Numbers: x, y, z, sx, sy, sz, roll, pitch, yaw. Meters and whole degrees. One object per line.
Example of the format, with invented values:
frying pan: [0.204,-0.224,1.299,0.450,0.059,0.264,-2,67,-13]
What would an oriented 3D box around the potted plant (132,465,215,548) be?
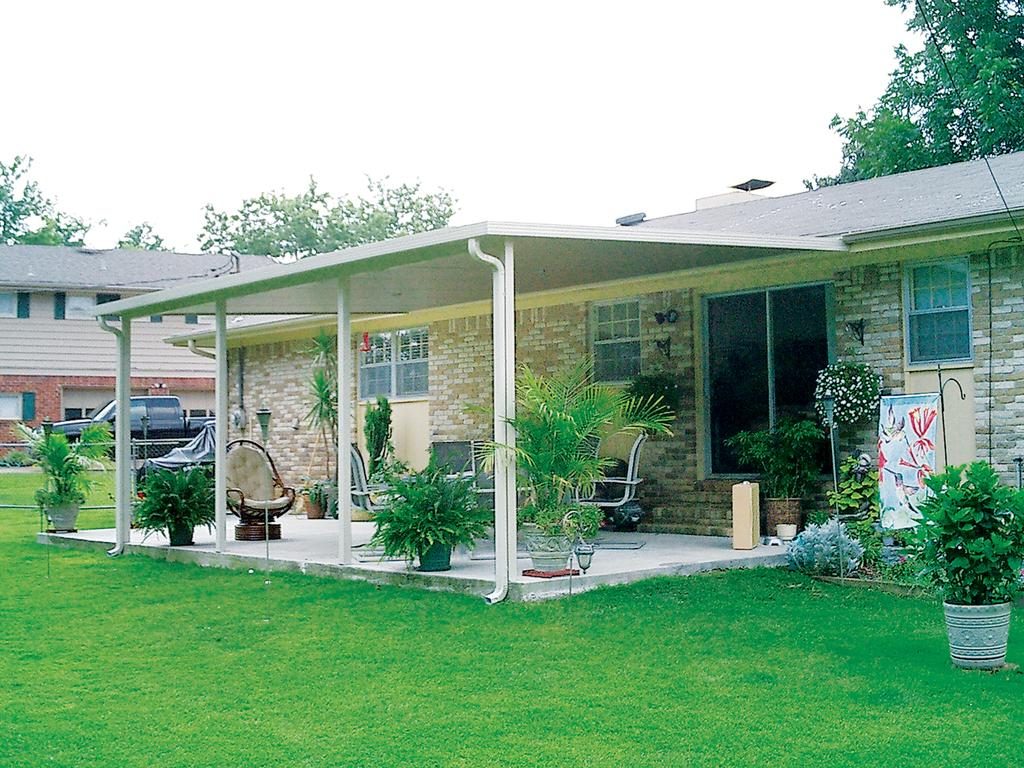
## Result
potted plant: [-4.548,1.718,13.129,1.080,1.024,1.112,-3,-14,15]

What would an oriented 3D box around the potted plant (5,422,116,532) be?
potted plant: [-7.323,1.595,15.745,1.229,1.879,3.316,-3,4,-27]

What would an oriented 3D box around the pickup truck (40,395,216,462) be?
pickup truck: [-8.740,1.009,21.581,3.778,1.590,1.692,2,-2,-33]

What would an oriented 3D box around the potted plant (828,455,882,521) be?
potted plant: [4.240,1.270,11.787,0.449,0.773,0.685,0,4,15]

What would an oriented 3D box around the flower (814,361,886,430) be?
flower: [4.182,0.149,12.001,0.815,0.867,0.522,1,5,31]

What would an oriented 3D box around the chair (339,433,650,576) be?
chair: [0.303,1.650,13.423,3.193,1.279,1.894,-2,-4,21]

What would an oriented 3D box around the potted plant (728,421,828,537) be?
potted plant: [3.643,1.172,12.795,1.529,1.664,1.282,-1,0,34]

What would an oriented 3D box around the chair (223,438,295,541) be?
chair: [-3.799,1.540,14.040,0.789,1.380,2.459,-3,4,-17]

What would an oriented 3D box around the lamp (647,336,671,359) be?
lamp: [2.145,-0.519,14.017,0.258,0.296,0.308,-5,-10,37]
